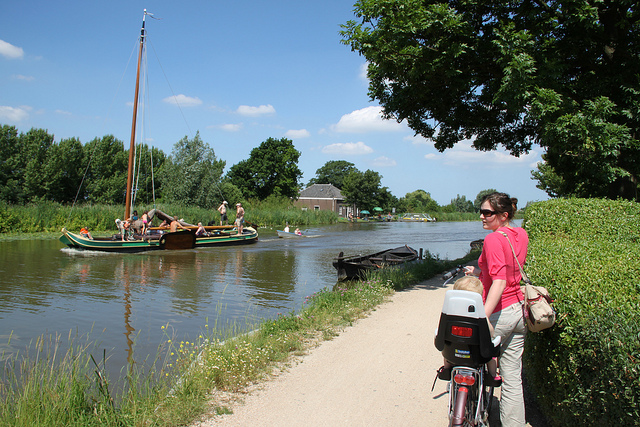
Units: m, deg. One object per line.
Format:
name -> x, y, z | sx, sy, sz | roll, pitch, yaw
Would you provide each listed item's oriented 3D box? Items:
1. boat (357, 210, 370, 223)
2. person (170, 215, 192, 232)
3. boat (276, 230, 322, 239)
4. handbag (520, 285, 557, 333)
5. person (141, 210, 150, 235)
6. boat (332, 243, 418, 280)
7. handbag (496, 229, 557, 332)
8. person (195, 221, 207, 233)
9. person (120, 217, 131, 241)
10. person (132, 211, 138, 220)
boat -> 8.969, 0.550, 93.634 | 1.366, 2.896, 2.476 | 2, -5, 22
person -> -9.340, 0.643, 31.505 | 1.121, 1.262, 0.362 | 16, 48, 14
boat -> -1.758, 1.665, 40.208 | 4.037, 0.730, 0.936 | 8, -7, -29
handbag -> 3.575, 1.521, 7.721 | 0.463, 0.722, 0.275 | 2, 12, 15
person -> -10.660, 0.628, 28.849 | 0.535, 1.516, 1.508 | -6, 12, -21
boat -> 2.837, 1.962, 20.291 | 1.413, 1.201, 4.581 | 4, 4, 39
handbag -> 3.442, 1.105, 7.778 | 0.875, 1.562, 0.404 | 5, 13, 31
person -> -7.747, 0.815, 30.794 | 0.688, 0.828, 0.586 | 3, -9, -8
person -> -11.294, 0.914, 27.463 | 0.538, 1.727, 1.206 | -2, 4, -42
person -> -11.381, 0.087, 29.008 | 0.269, 0.579, 1.287 | -5, 12, -20
